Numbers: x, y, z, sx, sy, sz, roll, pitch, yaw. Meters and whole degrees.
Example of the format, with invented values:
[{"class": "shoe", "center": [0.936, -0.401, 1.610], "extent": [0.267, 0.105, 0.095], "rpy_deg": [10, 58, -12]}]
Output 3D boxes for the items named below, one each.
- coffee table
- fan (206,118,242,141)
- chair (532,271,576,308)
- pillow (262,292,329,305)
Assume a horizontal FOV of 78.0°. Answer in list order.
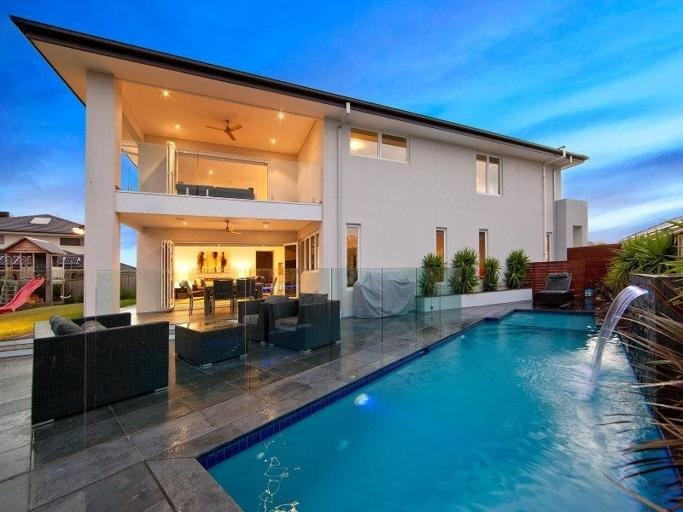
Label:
[{"class": "coffee table", "center": [-2.888, 1.882, 9.273], "extent": [1.119, 0.720, 1.134], "rpy_deg": [-1, -3, 37]}, {"class": "fan", "center": [-3.905, -4.306, 14.284], "extent": [0.772, 0.275, 0.758], "rpy_deg": [16, -16, -29]}, {"class": "chair", "center": [7.420, 1.139, 14.725], "extent": [0.968, 1.112, 1.716], "rpy_deg": [-4, -3, 40]}, {"class": "pillow", "center": [-1.060, 1.092, 10.797], "extent": [0.702, 0.235, 0.712], "rpy_deg": [-2, -3, 30]}]
